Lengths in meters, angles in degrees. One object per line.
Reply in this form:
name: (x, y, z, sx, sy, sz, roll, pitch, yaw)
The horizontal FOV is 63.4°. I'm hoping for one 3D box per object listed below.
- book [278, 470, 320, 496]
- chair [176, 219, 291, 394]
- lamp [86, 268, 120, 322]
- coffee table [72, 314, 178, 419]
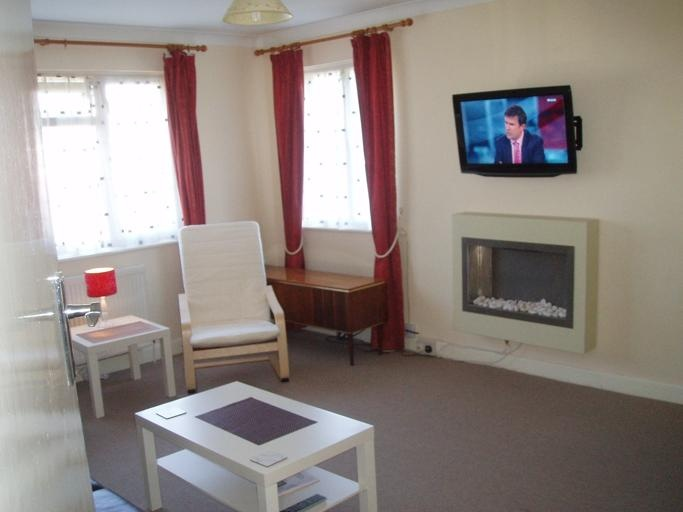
book: (-0.205, 0.994, 2.428, 0.208, 0.044, 0.104, -11, 14, -36)
chair: (-0.914, 0.357, 4.416, 0.765, 1.153, 0.922, -6, 11, -18)
lamp: (-1.837, 0.286, 4.256, 0.236, 0.388, 0.602, -8, 12, -25)
coffee table: (-1.642, 0.769, 4.154, 0.630, 0.531, 0.707, -9, 12, -28)
